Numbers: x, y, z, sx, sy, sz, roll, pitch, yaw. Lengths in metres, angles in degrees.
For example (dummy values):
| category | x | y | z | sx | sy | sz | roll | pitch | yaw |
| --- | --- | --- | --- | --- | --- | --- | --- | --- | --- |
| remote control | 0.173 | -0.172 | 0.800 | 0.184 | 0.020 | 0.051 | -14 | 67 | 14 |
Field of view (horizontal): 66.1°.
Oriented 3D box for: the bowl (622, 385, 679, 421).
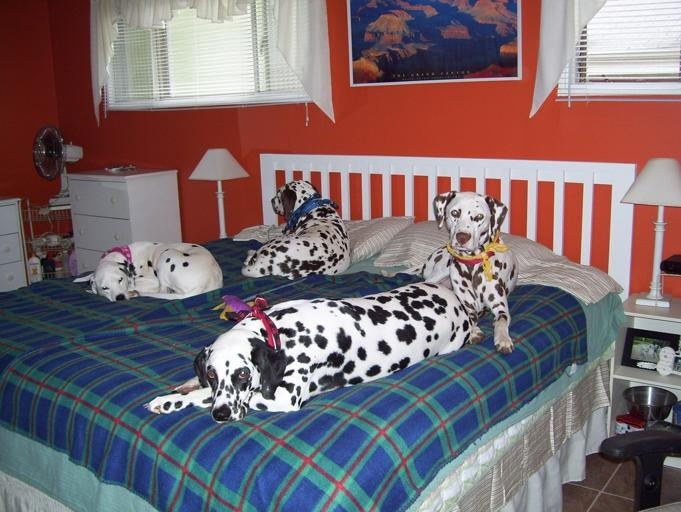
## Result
| category | x | y | z | sx | sy | sz | roll | pitch | yaw |
| --- | --- | --- | --- | --- | --- | --- | --- | --- | --- |
| bowl | 1.792 | 0.843 | 2.991 | 0.213 | 0.089 | 0.221 | -3 | 19 | 1 |

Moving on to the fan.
| category | x | y | z | sx | sy | sz | roll | pitch | yaw |
| --- | --- | --- | --- | --- | --- | --- | --- | --- | --- |
| fan | -3.061 | -0.951 | 5.731 | 0.474 | 0.821 | 0.514 | 7 | 11 | 26 |

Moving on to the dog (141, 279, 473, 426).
| category | x | y | z | sx | sy | sz | roll | pitch | yaw |
| --- | --- | --- | --- | --- | --- | --- | --- | --- | --- |
| dog | -0.066 | 0.260 | 2.144 | 1.293 | 0.330 | 0.470 | -14 | 16 | -32 |

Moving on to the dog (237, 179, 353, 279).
| category | x | y | z | sx | sy | sz | roll | pitch | yaw |
| --- | --- | --- | --- | --- | --- | --- | --- | --- | --- |
| dog | -0.322 | -0.140 | 3.734 | 0.650 | 0.446 | 1.152 | 11 | 27 | 12 |
